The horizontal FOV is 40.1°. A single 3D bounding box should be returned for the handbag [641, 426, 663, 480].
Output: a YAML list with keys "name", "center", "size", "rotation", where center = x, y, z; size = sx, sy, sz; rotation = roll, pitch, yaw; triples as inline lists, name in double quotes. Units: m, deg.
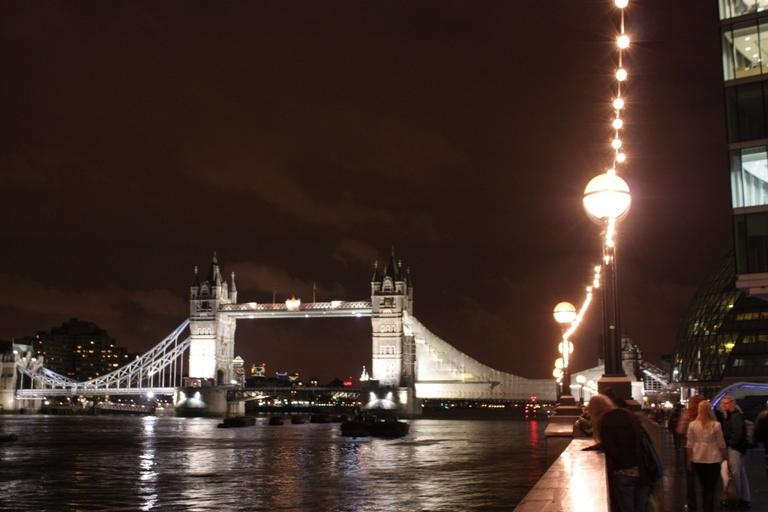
- name: "handbag"
  center: [7.273, 5.553, 29.040]
  size: [0.859, 1.537, 0.330]
  rotation: [8, -12, -37]
